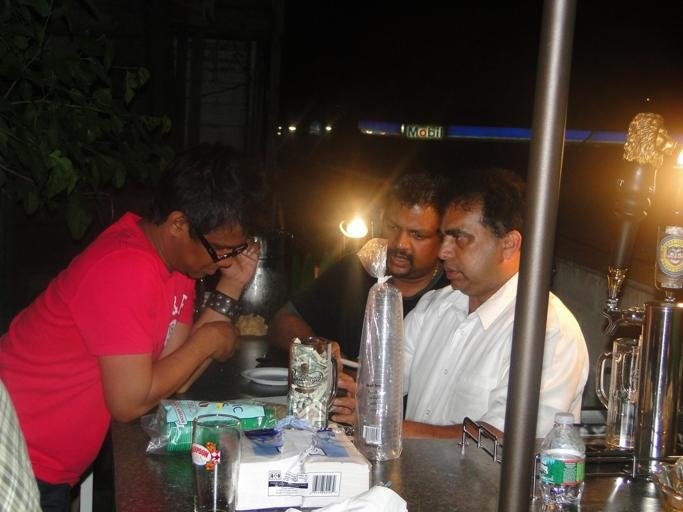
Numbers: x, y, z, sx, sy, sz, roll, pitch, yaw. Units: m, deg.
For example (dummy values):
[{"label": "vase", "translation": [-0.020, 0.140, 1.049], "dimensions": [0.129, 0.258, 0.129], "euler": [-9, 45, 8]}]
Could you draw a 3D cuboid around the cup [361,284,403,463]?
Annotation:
[{"label": "cup", "translation": [0.100, 0.284, 1.290], "dimensions": [0.118, 0.426, 0.078], "euler": [4, 0, -7]}]

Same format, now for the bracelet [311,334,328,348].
[{"label": "bracelet", "translation": [-0.055, 0.225, 1.420], "dimensions": [0.028, 0.029, 0.027], "euler": [-1, 7, -32]}]

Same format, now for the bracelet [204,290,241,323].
[{"label": "bracelet", "translation": [-0.499, 0.201, 2.237], "dimensions": [0.141, 0.103, 0.155], "euler": [26, -12, -25]}]

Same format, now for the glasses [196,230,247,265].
[{"label": "glasses", "translation": [-0.408, -0.015, 1.810], "dimensions": [0.033, 0.112, 0.114], "euler": [-43, -14, 19]}]
